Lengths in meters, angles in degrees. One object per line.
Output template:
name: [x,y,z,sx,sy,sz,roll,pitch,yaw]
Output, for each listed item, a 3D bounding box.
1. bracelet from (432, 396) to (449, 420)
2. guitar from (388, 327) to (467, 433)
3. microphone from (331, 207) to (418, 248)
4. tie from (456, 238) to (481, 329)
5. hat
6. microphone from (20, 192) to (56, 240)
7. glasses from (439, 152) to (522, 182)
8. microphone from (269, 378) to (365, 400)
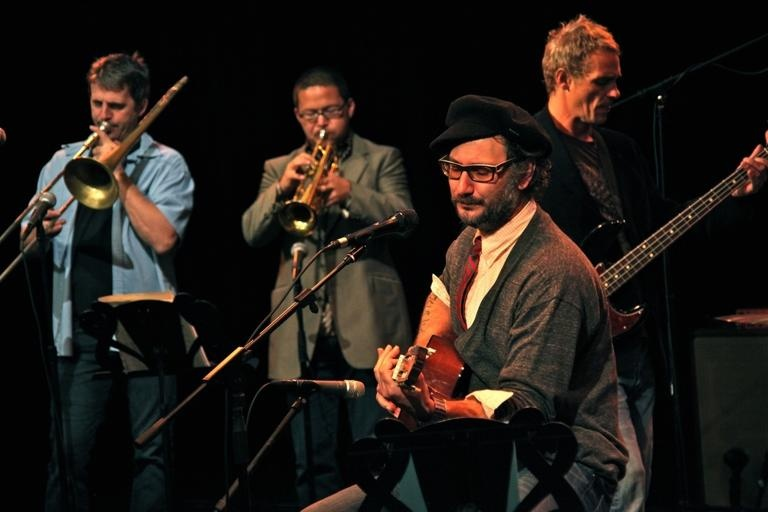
bracelet: [0.273,0.756,4.039,0.080,0.116,0.111,2,-10,-1]
guitar: [0.269,0.605,4.253,0.282,0.528,0.613,3,-3,-37]
microphone: [-0.110,-0.150,4.601,0.643,0.194,0.182,-19,12,-34]
tie: [0.463,0.156,4.547,0.130,0.510,0.151,0,27,-1]
hat: [0.584,-0.693,4.388,0.484,0.175,0.336,7,-11,-17]
microphone: [-2.274,-0.282,5.359,0.157,0.323,0.301,7,-10,-27]
glasses: [0.498,-0.457,4.364,0.218,0.065,0.221,6,12,32]
microphone: [-0.357,0.682,4.256,0.488,0.086,0.203,3,-9,-7]
